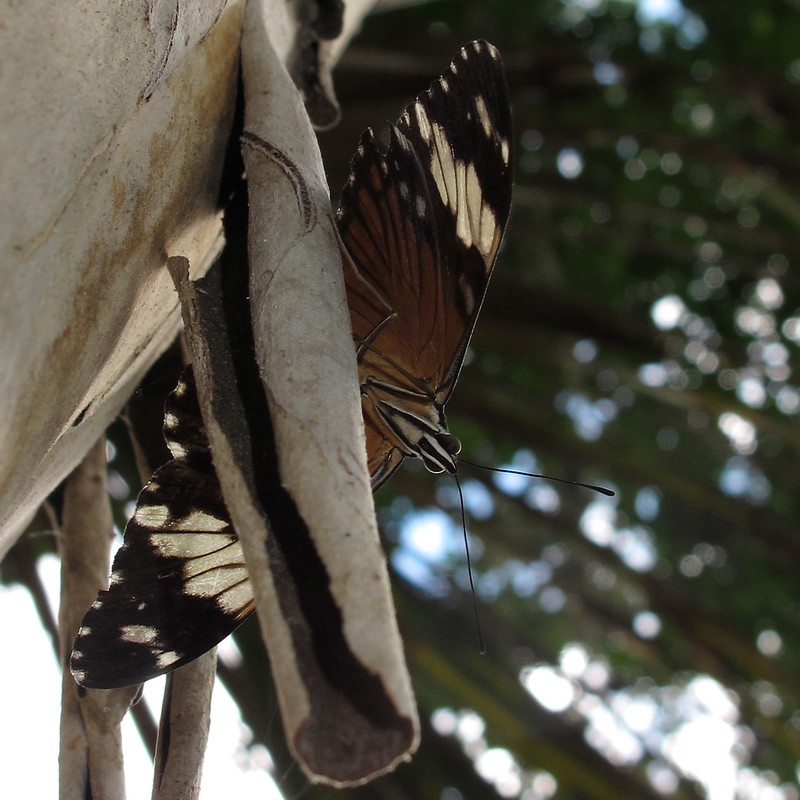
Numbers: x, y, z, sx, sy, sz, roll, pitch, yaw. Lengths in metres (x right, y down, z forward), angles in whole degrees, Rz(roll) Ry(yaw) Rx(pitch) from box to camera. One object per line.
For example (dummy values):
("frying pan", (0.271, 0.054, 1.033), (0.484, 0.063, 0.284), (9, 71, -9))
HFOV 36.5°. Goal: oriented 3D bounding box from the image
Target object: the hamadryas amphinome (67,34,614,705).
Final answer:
("hamadryas amphinome", (-0.097, -0.024, 0.949), (0.379, 0.495, 0.105), (-7, 14, -17))
